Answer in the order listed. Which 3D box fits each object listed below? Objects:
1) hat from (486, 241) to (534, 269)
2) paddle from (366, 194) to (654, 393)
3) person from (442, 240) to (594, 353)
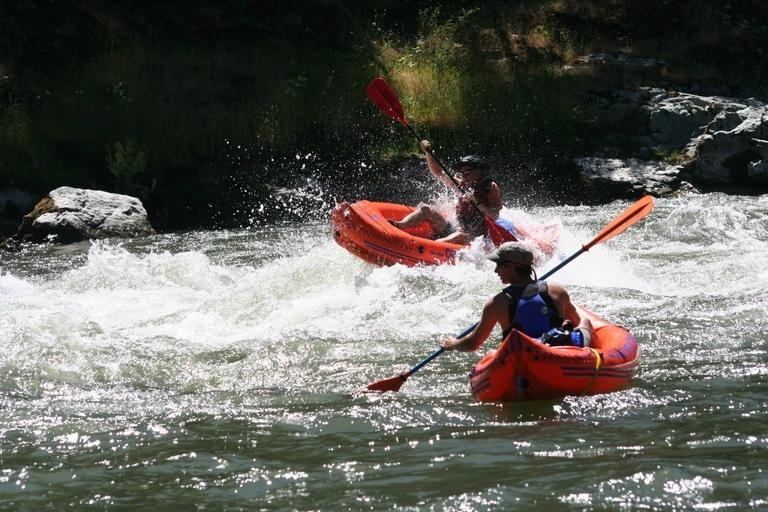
[{"bbox_3d":[1.636,-0.010,13.750,0.459,0.204,0.328,5,-1,14],"label":"hat"},{"bbox_3d":[1.668,0.608,15.117,4.493,0.281,0.520,-32,55,-8],"label":"paddle"},{"bbox_3d":[1.803,0.663,13.236,1.351,0.835,1.660,-7,16,2],"label":"person"}]
